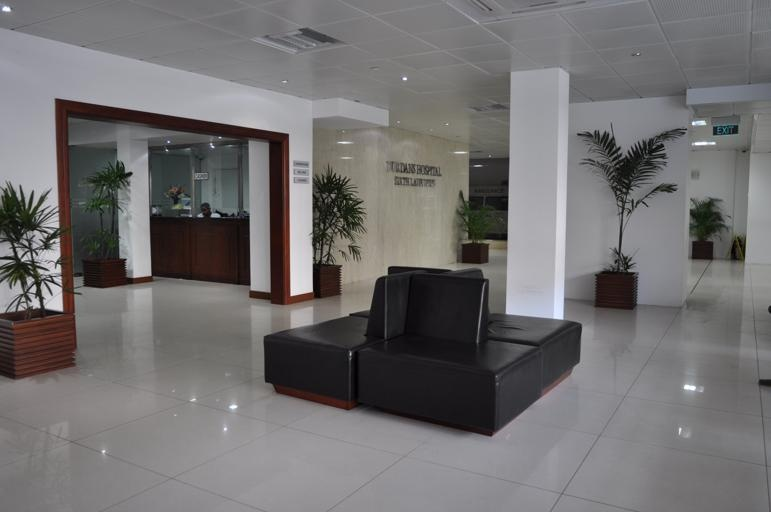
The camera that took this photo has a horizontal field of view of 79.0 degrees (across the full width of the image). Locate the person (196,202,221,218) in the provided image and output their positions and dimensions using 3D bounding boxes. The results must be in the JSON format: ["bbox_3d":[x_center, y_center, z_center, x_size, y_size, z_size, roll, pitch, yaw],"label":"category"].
[{"bbox_3d":[-4.543,-1.185,11.968,0.902,0.371,0.431,5,9,29],"label":"person"}]

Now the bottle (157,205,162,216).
[{"bbox_3d":[-6.117,-1.258,12.722,0.140,0.246,0.056,-7,11,-42],"label":"bottle"}]

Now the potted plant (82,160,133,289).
[{"bbox_3d":[-6.905,-0.868,11.601,1.185,3.006,2.156,-6,10,-35],"label":"potted plant"}]

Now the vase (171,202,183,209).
[{"bbox_3d":[-5.572,-1.366,12.612,0.156,0.078,0.216,7,13,33],"label":"vase"}]

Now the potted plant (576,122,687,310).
[{"bbox_3d":[4.657,-0.796,9.140,1.750,3.532,1.001,3,9,22],"label":"potted plant"}]

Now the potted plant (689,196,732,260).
[{"bbox_3d":[12.000,-1.070,17.511,1.162,2.265,0.711,4,9,28],"label":"potted plant"}]

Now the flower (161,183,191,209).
[{"bbox_3d":[-5.571,-1.624,12.689,0.683,0.696,0.689,0,2,-6],"label":"flower"}]

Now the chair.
[{"bbox_3d":[0.386,0.867,4.983,3.196,1.298,1.743,1,8,10],"label":"chair"}]
